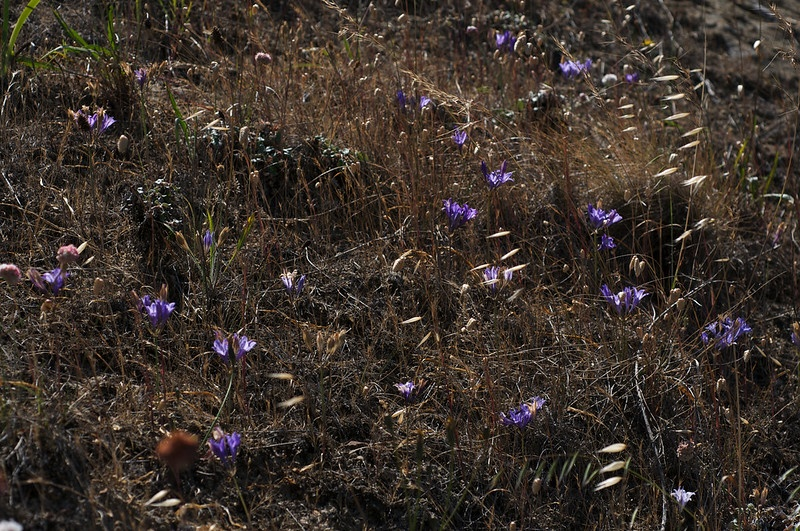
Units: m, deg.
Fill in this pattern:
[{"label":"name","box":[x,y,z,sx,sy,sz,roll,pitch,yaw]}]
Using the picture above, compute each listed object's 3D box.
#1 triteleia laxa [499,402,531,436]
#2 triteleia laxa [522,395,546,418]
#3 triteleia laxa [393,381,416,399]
[{"label":"triteleia laxa","box":[0.559,0.704,3.710,0.147,0.139,0.132,1,91,-47]},{"label":"triteleia laxa","box":[0.616,0.650,3.689,0.114,0.111,0.091,-13,90,-49]},{"label":"triteleia laxa","box":[0.032,0.565,3.678,0.068,0.083,0.068,-1,77,10]}]
